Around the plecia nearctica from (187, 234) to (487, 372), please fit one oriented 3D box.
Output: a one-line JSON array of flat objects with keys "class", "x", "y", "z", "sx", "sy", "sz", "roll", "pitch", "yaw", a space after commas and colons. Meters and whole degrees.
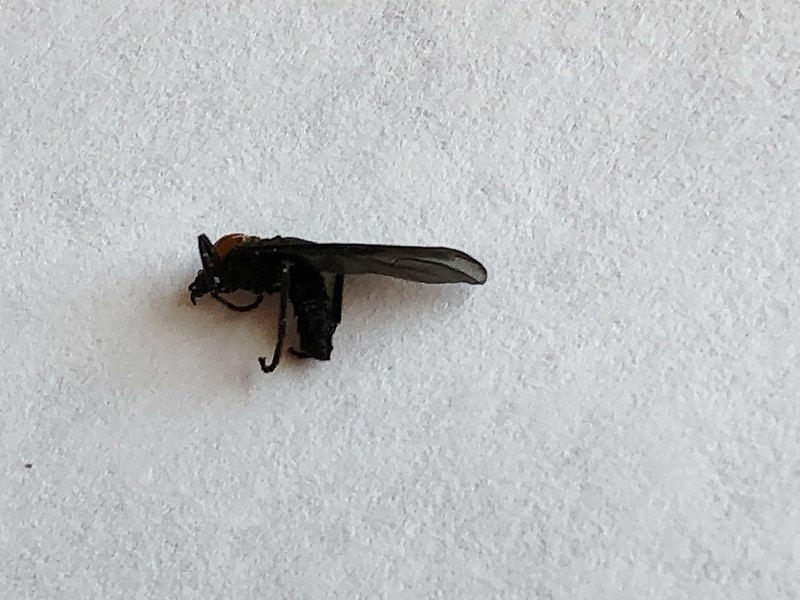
[{"class": "plecia nearctica", "x": -0.135, "y": -0.006, "z": 2.314, "sx": 0.605, "sy": 0.218, "sz": 0.281, "roll": -2, "pitch": 79, "yaw": 29}]
